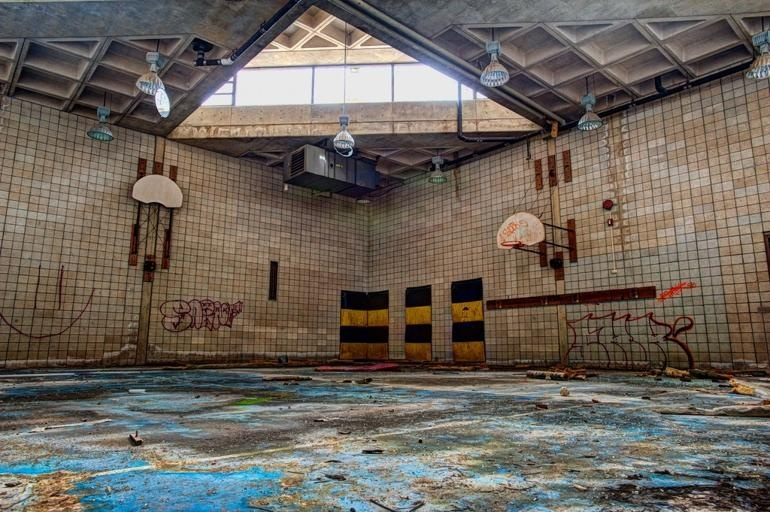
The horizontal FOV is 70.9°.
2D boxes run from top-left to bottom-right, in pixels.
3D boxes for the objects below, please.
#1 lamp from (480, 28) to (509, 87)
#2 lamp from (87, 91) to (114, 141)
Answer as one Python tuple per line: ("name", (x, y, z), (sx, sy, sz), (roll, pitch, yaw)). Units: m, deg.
("lamp", (1.668, -3.013, 8.090), (0.611, 0.837, 0.531), (-5, 28, 8))
("lamp", (-5.632, -2.779, 10.716), (0.388, 1.027, 1.294), (0, 1, -27))
